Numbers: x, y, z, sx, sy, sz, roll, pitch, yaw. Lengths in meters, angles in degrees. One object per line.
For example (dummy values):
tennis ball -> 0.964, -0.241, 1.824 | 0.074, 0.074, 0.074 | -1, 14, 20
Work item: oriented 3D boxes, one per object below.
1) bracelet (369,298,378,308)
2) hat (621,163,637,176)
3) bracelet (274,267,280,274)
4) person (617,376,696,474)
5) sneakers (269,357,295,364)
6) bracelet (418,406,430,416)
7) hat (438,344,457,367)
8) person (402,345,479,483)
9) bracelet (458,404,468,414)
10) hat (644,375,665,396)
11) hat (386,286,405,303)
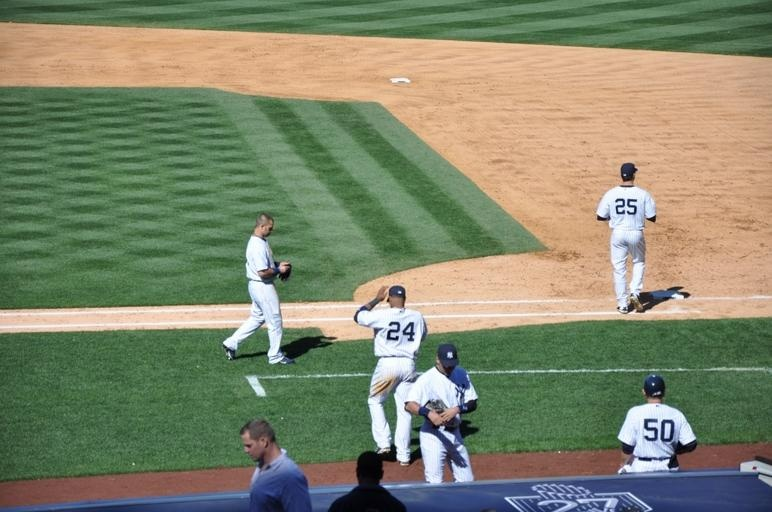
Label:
bracelet -> -0.271, 1.107, 31.609 | 0.223, 0.138, 0.384 | -28, -1, -5
hat -> 6.224, -2.214, 34.518 | 0.386, 0.256, 0.512 | 9, 36, 24
bracelet -> -2.614, 0.346, 32.710 | 0.145, 0.140, 0.055 | 6, -16, -4
person -> 5.726, 3.625, 28.834 | 1.626, 2.073, 0.393 | -5, 11, 6
sneakers -> -2.524, 2.524, 32.932 | 0.668, 0.220, 0.198 | -1, 25, -4
bracelet -> 0.839, 3.365, 29.134 | 0.188, 0.129, 0.207 | 10, -10, 33
hat -> 1.317, 2.106, 29.277 | 0.433, 0.240, 0.528 | -4, 23, -15
person -> 1.217, 3.468, 29.290 | 1.474, 3.066, 0.817 | -7, 11, 0
bracelet -> 1.699, 3.339, 29.292 | 0.197, 0.163, 0.205 | 3, 21, -3
hat -> 5.764, 2.764, 28.865 | 0.443, 0.270, 0.495 | 1, 27, 7
hat -> 0.249, 0.874, 30.504 | 0.403, 0.360, 0.394 | -6, 9, -4
